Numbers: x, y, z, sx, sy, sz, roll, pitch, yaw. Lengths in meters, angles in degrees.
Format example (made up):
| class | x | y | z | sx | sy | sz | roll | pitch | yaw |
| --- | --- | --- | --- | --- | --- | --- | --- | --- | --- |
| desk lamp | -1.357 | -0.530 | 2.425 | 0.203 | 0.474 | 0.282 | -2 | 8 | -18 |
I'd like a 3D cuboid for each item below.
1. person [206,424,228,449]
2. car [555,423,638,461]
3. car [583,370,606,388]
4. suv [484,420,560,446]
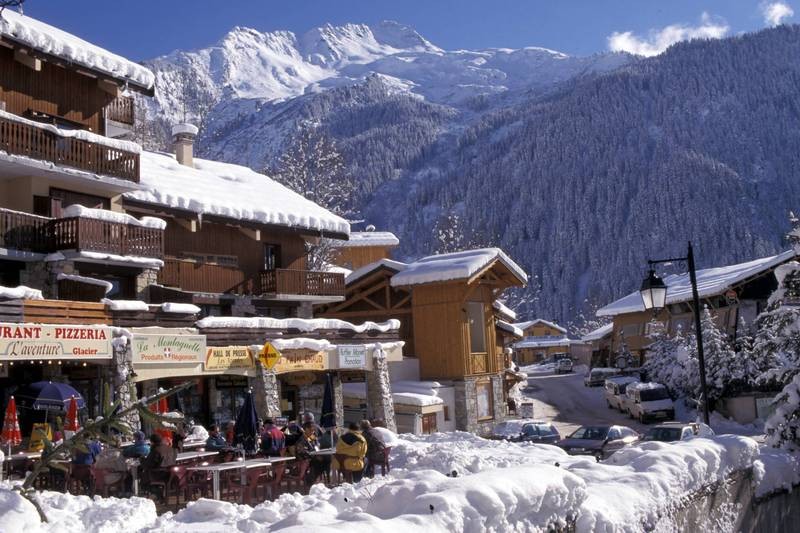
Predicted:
| class | x | y | z | sx | sy | sz | roll | pitch | yaw |
| --- | --- | --- | --- | --- | --- | --- | --- | --- | --- |
| person | -6.938 | 6.568 | 35.940 | 0.752 | 1.041 | 1.158 | -10 | -8 | 5 |
| car | 9.200 | 8.106 | 44.160 | 3.205 | 1.246 | 1.582 | 4 | -7 | -34 |
| car | 14.741 | 8.593 | 72.076 | 1.434 | 1.284 | 2.445 | 0 | 3 | 8 |
| suv | 6.574 | 8.631 | 47.699 | 2.745 | 1.421 | 1.716 | 6 | -7 | -4 |
